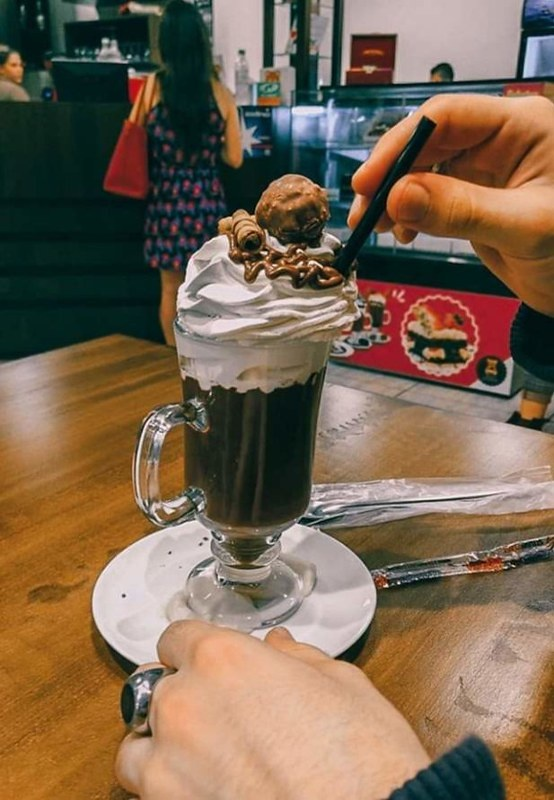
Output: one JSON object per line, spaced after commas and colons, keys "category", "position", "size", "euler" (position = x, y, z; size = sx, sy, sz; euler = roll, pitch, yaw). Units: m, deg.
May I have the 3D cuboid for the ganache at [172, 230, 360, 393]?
{"category": "ganache", "position": [-0.013, -0.096, 0.711], "size": [0.182, 0.141, 0.147], "euler": [-10, 14, -25]}

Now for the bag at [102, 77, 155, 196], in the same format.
{"category": "bag", "position": [-0.594, -1.014, 2.846], "size": [0.145, 0.560, 0.183], "euler": [-9, 27, -23]}

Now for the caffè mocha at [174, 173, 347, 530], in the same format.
{"category": "caffè mocha", "position": [0.001, -0.062, 0.756], "size": [0.215, 0.327, 0.206], "euler": [-7, 17, -33]}

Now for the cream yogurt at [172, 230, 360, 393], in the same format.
{"category": "cream yogurt", "position": [-0.015, -0.079, 0.686], "size": [0.190, 0.130, 0.175], "euler": [5, 26, 6]}
